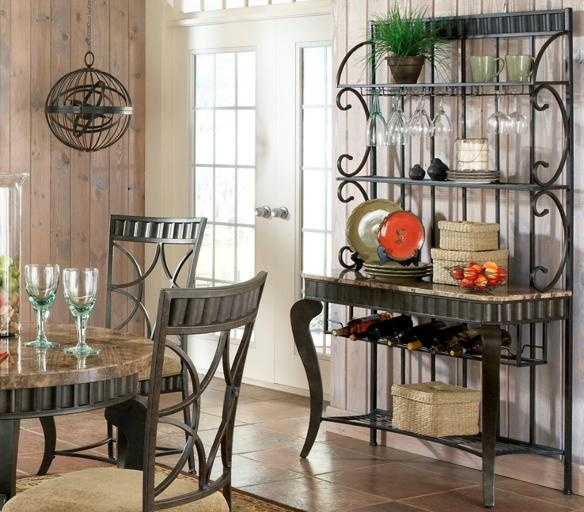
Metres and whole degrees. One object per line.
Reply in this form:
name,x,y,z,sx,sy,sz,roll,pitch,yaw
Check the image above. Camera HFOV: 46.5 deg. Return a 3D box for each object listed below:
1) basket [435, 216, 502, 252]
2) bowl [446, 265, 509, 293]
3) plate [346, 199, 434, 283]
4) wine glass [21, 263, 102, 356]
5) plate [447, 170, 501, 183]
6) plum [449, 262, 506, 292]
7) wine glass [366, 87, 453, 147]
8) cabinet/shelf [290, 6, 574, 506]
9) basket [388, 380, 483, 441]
basket,0.785,-0.085,2.993,0.268,0.129,0.209,1,3,9
bowl,0.767,0.084,2.817,0.224,0.115,0.193,1,3,15
plate,0.489,-0.094,3.343,0.265,0.403,0.376,-4,8,-41
wine glass,-0.818,0.186,2.361,0.372,0.397,0.168,1,-1,17
plate,0.799,-0.351,3.048,0.238,0.060,0.169,2,3,25
plum,0.752,0.071,2.764,0.161,0.121,0.203,-2,7,-34
wine glass,0.578,-0.611,3.192,0.180,0.300,0.338,-5,9,-41
cabinet/shelf,0.673,-0.082,3.118,1.172,2.198,0.616,3,4,40
basket,0.639,0.704,3.123,0.380,0.216,0.253,3,4,43
